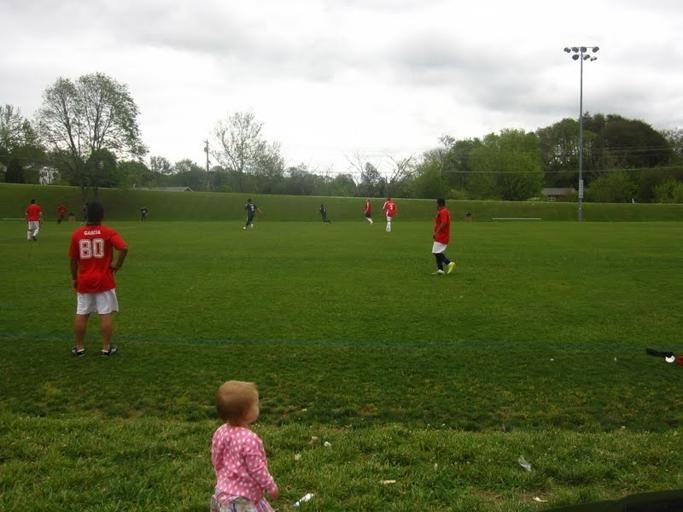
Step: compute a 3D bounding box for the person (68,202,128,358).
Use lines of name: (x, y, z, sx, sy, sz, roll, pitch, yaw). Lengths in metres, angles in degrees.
person: (-3.638, 0.355, 11.016, 0.834, 2.309, 0.435, -4, 9, -19)

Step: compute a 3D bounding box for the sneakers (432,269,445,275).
sneakers: (2.319, 0.388, 17.744, 0.311, 0.133, 0.106, 2, 7, 31)

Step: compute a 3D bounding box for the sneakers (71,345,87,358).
sneakers: (-3.959, 1.442, 11.194, 0.100, 0.117, 0.266, 2, 3, -44)

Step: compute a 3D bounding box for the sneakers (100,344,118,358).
sneakers: (-3.513, 1.447, 11.213, 0.111, 0.127, 0.299, 3, 6, 5)
